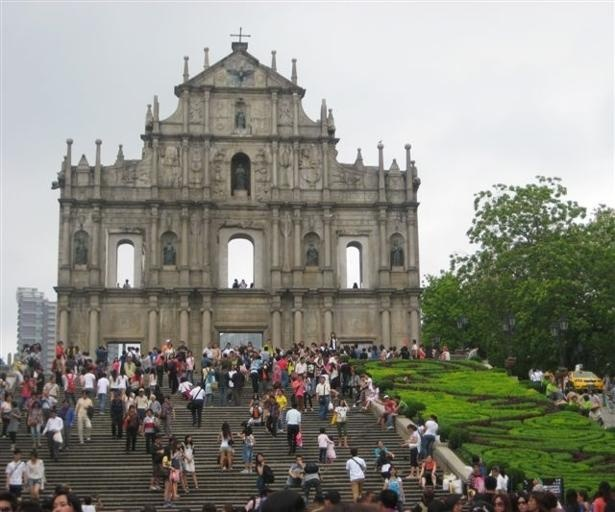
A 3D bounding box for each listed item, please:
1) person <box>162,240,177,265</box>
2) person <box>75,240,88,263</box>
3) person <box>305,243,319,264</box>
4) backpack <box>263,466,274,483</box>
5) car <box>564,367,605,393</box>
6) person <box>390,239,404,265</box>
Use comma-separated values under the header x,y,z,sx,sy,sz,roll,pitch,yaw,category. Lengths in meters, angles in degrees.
x,y,z,sx,sy,sz,roll,pitch,yaw,category
-8.027,-0.105,75.798,0.758,1.427,0.320,0,-8,-9,person
-13.004,-0.149,75.159,0.750,1.348,0.217,1,-8,-11,person
0.159,-0.044,76.740,0.968,1.867,0.562,0,-47,0,person
-1.415,7.577,46.311,0.370,0.622,0.541,-1,-8,-1,backpack
14.127,6.350,67.559,1.000,0.835,1.607,1,-12,-6,car
5.176,-0.159,77.049,0.774,1.685,0.313,-1,-8,4,person
